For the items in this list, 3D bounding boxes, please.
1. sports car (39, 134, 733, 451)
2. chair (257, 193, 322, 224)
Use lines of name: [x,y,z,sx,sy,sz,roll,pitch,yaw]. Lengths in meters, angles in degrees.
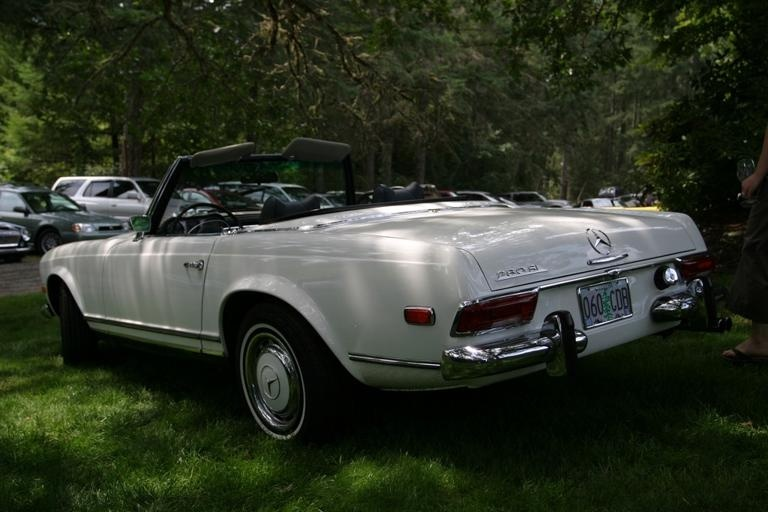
sports car: [-0.187,0.096,4.797,5.207,2.042,2.027,6,15,29]
chair: [-0.773,-0.397,4.913,0.363,0.146,0.265,-5,1,-22]
